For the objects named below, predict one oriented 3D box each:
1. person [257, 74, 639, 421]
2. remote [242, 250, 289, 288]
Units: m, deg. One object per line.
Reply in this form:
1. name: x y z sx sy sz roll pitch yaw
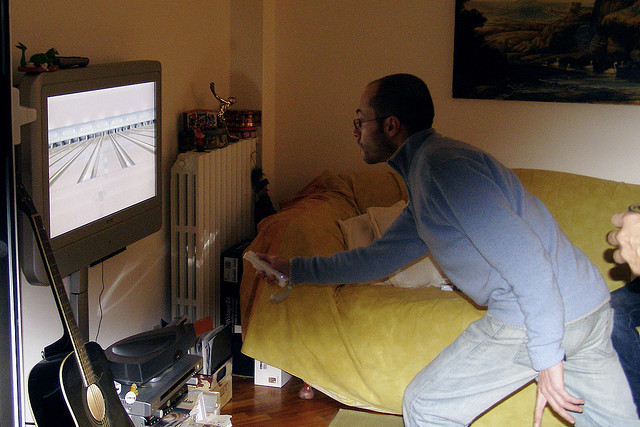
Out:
1. person: 0.568 0.116 1.919 1.106 1.402 0.468 1 5 42
2. remote: -0.278 0.291 2.548 0.319 0.086 0.098 38 -31 -1
